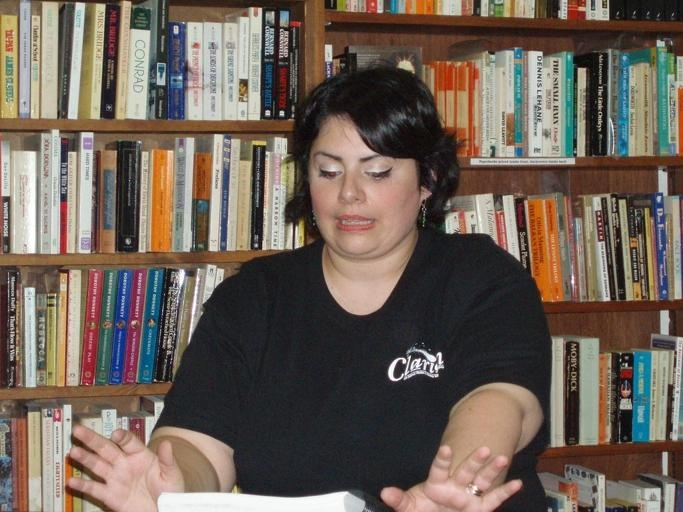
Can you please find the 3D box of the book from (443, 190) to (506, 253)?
[{"bbox_3d":[0.456,-0.119,2.672,0.263,0.253,0.196,-1,0,7],"label":"book"}]

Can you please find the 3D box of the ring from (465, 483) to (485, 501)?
[{"bbox_3d":[0.252,0.446,1.434,0.030,0.022,0.013,39,6,21],"label":"ring"}]
